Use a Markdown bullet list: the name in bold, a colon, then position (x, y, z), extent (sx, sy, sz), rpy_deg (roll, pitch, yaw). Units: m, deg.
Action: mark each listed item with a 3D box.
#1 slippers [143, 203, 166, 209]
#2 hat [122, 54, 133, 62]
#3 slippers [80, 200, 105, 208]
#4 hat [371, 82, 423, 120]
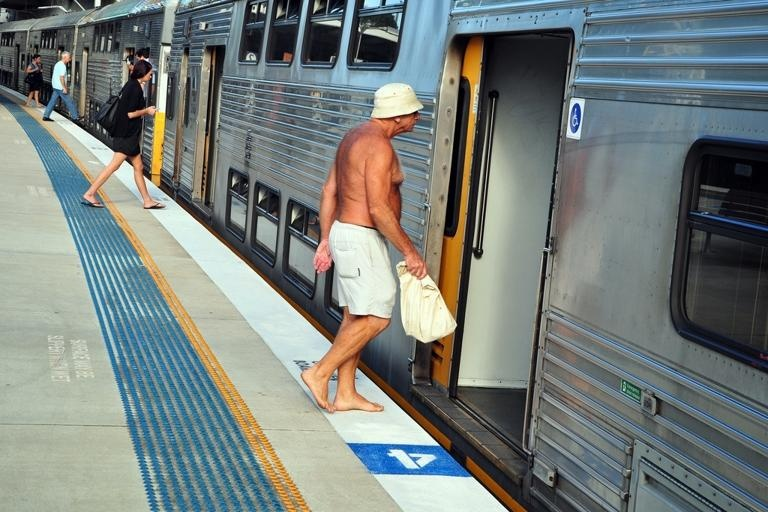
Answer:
- **slippers**: position (-4.557, -0.988, 10.757), extent (0.333, 0.082, 0.128), rpy_deg (-4, 10, -29)
- **hat**: position (-8.132, -6.261, 17.188), extent (0.438, 0.110, 0.405), rpy_deg (-10, 20, -43)
- **slippers**: position (-5.536, -0.955, 10.283), extent (0.389, 0.114, 0.165), rpy_deg (7, 12, 14)
- **hat**: position (0.079, -1.132, 4.001), extent (0.293, 0.160, 0.264), rpy_deg (-6, 21, 3)
